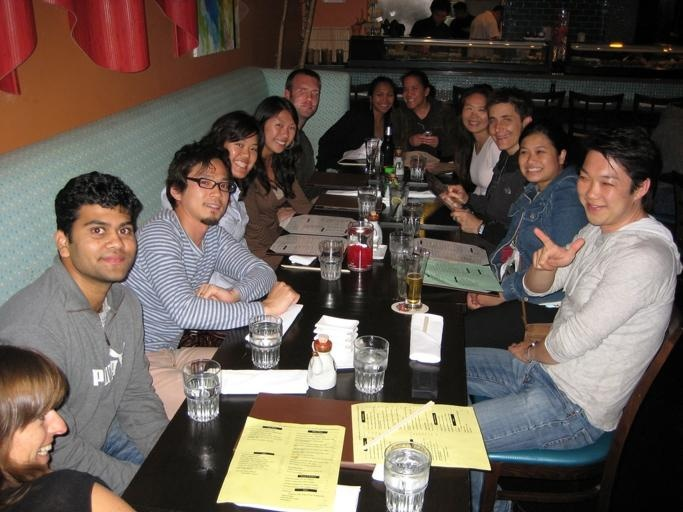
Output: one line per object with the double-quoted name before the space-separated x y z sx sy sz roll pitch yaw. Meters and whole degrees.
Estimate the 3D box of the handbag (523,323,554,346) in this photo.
"handbag" 0.802 0.316 2.049 0.092 0.033 0.076 0 31 25

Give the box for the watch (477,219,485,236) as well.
"watch" 0.838 -0.165 3.017 0.049 0.068 0.077 2 -8 19

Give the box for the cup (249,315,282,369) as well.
"cup" -0.244 0.278 1.666 0.152 0.175 0.142 0 9 0

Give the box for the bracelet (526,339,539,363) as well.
"bracelet" 0.746 0.373 1.978 0.028 0.071 0.075 7 -21 10

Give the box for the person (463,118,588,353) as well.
"person" 0.980 -0.196 2.708 0.547 0.963 0.509 -3 29 15

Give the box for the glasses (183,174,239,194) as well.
"glasses" -0.582 -0.313 2.179 0.123 0.037 0.122 6 0 36

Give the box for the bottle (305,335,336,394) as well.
"bottle" -0.065 0.327 1.548 0.086 0.157 0.088 -3 17 1

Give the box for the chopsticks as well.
"chopsticks" 0.156 0.470 1.384 0.214 0.018 0.024 -22 -4 -43
